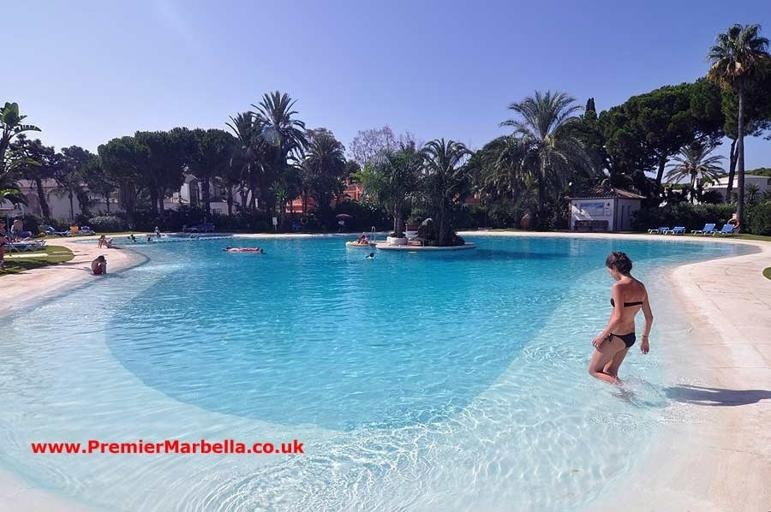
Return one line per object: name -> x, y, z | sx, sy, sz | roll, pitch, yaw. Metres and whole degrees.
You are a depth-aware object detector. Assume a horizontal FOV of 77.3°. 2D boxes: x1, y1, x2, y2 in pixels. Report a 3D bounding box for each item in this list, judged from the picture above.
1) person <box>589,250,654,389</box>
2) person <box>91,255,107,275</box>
person -> 4.144, 1.075, 8.489 | 0.923, 2.414, 1.094 | 6, 16, 29
person -> -11.769, 0.394, 19.842 | 0.491, 0.750, 1.323 | -9, 16, -28
